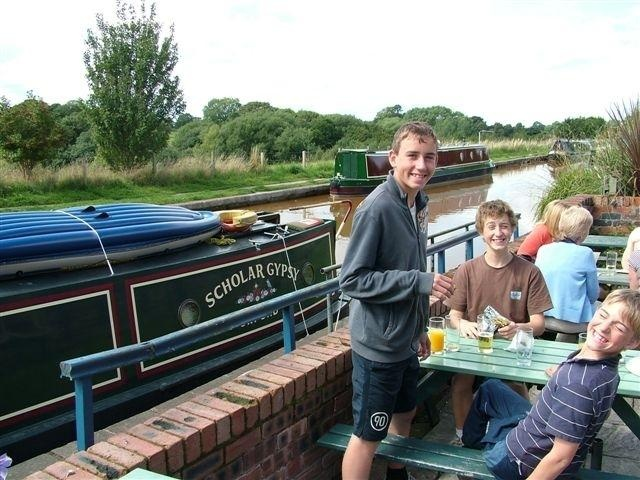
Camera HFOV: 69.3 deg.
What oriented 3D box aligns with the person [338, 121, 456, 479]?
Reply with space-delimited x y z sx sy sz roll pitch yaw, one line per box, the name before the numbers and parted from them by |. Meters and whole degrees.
person | 0.431 0.482 2.833 0.664 2.364 0.591 -3 7 1
